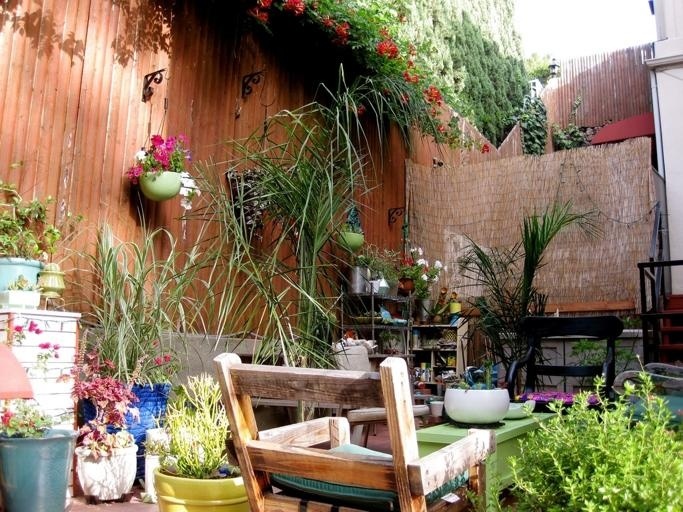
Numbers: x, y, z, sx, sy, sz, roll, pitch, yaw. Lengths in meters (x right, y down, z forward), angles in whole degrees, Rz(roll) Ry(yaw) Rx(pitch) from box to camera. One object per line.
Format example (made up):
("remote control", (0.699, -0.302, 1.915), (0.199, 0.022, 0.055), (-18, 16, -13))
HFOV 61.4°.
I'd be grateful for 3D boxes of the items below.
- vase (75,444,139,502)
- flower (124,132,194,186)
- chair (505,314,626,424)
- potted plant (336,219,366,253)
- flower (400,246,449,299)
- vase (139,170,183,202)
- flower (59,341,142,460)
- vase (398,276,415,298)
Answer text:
("vase", (-1.239, 1.142, 3.096), (0.277, 0.265, 0.287), (-3, -8, 39))
("flower", (-1.280, -0.720, 4.119), (0.280, 0.290, 0.365), (8, 22, 6))
("chair", (1.432, 0.707, 3.903), (0.589, 1.047, 0.675), (-4, -17, 25))
("potted plant", (0.052, -0.142, 5.794), (0.303, 0.430, 0.333), (0, -6, -8))
("flower", (0.969, 0.181, 7.049), (0.474, 0.622, 0.556), (-12, -13, 30))
("vase", (-1.270, -0.503, 4.052), (0.231, 0.187, 0.245), (1, -3, 43))
("flower", (-1.234, 0.858, 3.048), (0.268, 0.459, 0.202), (-10, -11, 38))
("vase", (0.747, 0.357, 6.692), (0.187, 0.166, 0.182), (6, -9, -41))
